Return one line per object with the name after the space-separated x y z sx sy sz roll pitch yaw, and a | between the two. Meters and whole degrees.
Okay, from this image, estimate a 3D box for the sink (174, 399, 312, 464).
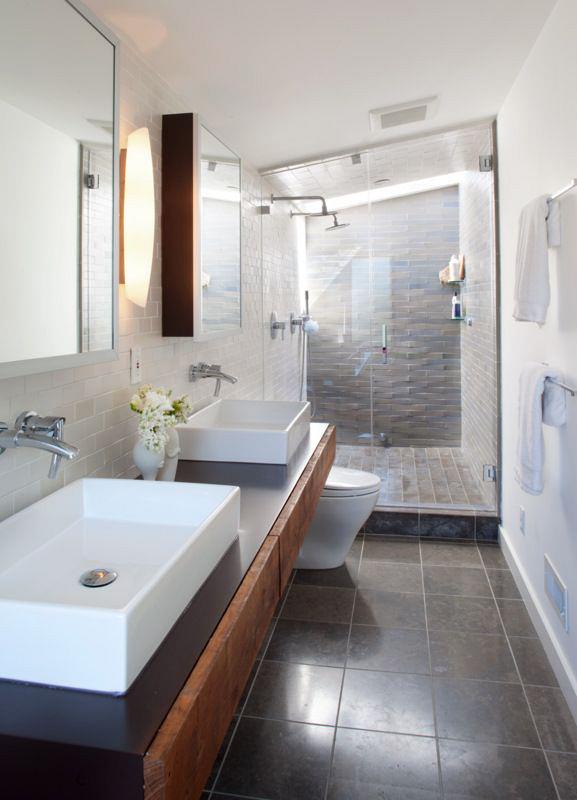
-0.151 0.107 2.089 0.405 0.157 0.585 1 6 10 | sink

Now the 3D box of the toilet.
0.246 0.622 2.979 0.444 0.524 0.384 1 10 5 | toilet

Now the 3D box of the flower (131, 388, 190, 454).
-0.376 0.052 1.616 0.141 0.202 0.165 2 1 34 | flower

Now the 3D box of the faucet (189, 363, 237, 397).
-0.321 -0.086 2.357 0.172 0.153 0.112 10 7 25 | faucet
